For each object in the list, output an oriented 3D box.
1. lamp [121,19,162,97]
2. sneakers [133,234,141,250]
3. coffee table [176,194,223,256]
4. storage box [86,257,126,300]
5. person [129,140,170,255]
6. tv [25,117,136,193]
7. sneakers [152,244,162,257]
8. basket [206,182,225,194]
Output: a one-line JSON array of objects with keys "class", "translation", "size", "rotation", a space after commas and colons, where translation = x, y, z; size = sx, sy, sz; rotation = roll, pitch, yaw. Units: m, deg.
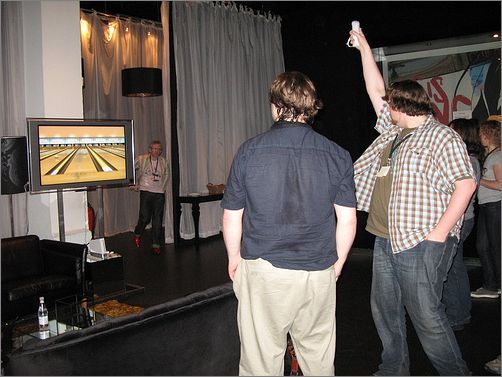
[{"class": "lamp", "translation": [-1.982, -2.246, 7.025], "size": [0.649, 1.079, 0.679], "rotation": [1, 13, 2]}, {"class": "sneakers", "translation": [-2.091, 0.952, 7.101], "size": [0.084, 0.273, 0.178], "rotation": [-6, -2, -29]}, {"class": "coffee table", "translation": [-0.971, 0.661, 7.104], "size": [0.307, 0.724, 0.920], "rotation": [2, 6, 20]}, {"class": "storage box", "translation": [-1.654, 1.008, 4.449], "size": [0.230, 0.458, 0.443], "rotation": [5, 8, 43]}, {"class": "person", "translation": [-1.737, 0.145, 6.756], "size": [0.636, 1.868, 0.623], "rotation": [-4, 5, -5]}, {"class": "tv", "translation": [-2.006, -0.391, 4.562], "size": [0.831, 0.588, 0.080], "rotation": [-3, 5, -31]}, {"class": "sneakers", "translation": [-1.598, 1.044, 6.637], "size": [0.148, 0.176, 0.144], "rotation": [1, -17, 1]}, {"class": "basket", "translation": [-0.630, 0.017, 7.381], "size": [0.321, 0.236, 0.427], "rotation": [-4, -6, 36]}]
